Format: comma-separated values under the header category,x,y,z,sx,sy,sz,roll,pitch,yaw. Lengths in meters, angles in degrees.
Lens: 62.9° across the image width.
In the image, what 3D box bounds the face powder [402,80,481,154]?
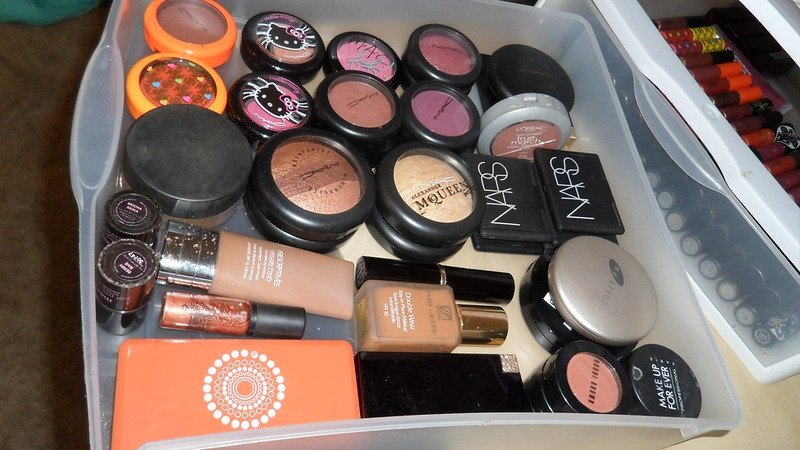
category,x,y,z,sx,sy,sz,roll,pitch,yaw
face powder,0.122,-0.332,2.023,0.238,0.060,0.229,-14,68,-28
